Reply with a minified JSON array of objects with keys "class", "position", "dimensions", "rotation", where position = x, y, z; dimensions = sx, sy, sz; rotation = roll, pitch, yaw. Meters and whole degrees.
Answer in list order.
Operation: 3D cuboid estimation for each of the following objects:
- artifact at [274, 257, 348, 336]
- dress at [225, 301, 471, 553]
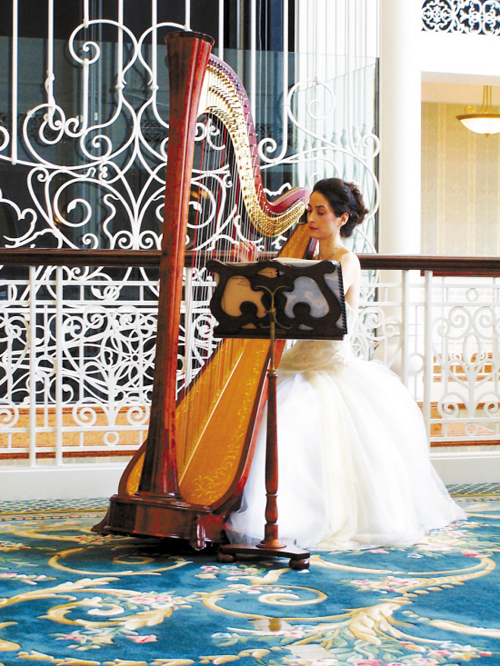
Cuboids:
[{"class":"artifact","position":[0.191,-0.104,2.653],"dimensions":[0.257,0.211,0.061],"rotation":[7,15,31]},{"class":"dress","position":[0.318,0.421,3.501],"dimensions":[1.009,0.916,0.817],"rotation":[7,-17,-31]}]
